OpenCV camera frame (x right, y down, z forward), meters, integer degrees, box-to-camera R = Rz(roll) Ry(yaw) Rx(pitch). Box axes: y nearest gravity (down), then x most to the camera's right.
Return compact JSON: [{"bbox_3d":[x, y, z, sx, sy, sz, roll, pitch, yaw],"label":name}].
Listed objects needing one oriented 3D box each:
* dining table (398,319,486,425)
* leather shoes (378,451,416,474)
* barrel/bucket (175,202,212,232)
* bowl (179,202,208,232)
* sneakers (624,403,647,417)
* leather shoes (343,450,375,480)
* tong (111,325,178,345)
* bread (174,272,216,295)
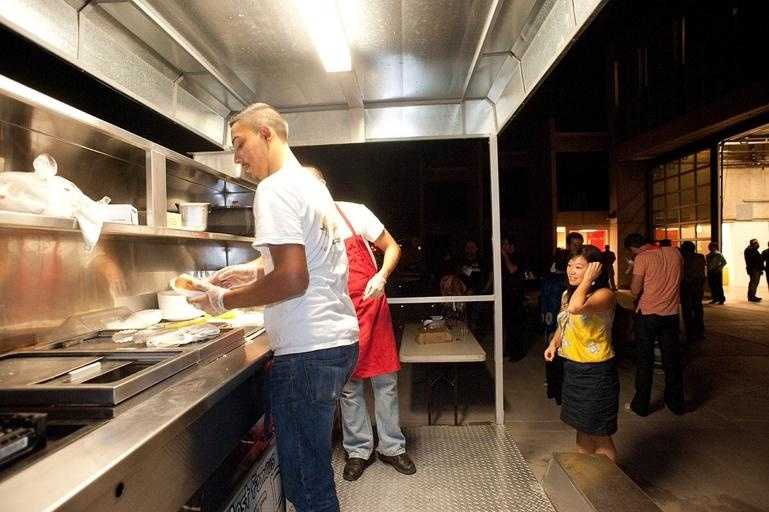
[{"bbox_3d":[0.583,1.172,5.242,0.734,0.740,2.054,-1,2,4],"label":"dining table"},{"bbox_3d":[0.098,1.593,3.886,0.278,0.116,0.111,6,1,33],"label":"leather shoes"},{"bbox_3d":[-1.476,-0.291,3.808,0.238,0.193,0.196,1,-2,-27],"label":"barrel/bucket"},{"bbox_3d":[-1.471,-0.300,3.809,0.233,0.218,0.197,0,0,-1],"label":"bowl"},{"bbox_3d":[2.500,1.494,4.920,0.069,0.127,0.187,-5,17,-18],"label":"sneakers"},{"bbox_3d":[-0.220,1.622,3.852,0.101,0.097,0.240,-1,-5,19],"label":"leather shoes"},{"bbox_3d":[-1.578,0.507,3.239,0.524,0.061,0.282,-1,2,25],"label":"tong"},{"bbox_3d":[-1.251,0.183,3.229,0.169,0.071,0.168,-1,5,3],"label":"bread"}]
